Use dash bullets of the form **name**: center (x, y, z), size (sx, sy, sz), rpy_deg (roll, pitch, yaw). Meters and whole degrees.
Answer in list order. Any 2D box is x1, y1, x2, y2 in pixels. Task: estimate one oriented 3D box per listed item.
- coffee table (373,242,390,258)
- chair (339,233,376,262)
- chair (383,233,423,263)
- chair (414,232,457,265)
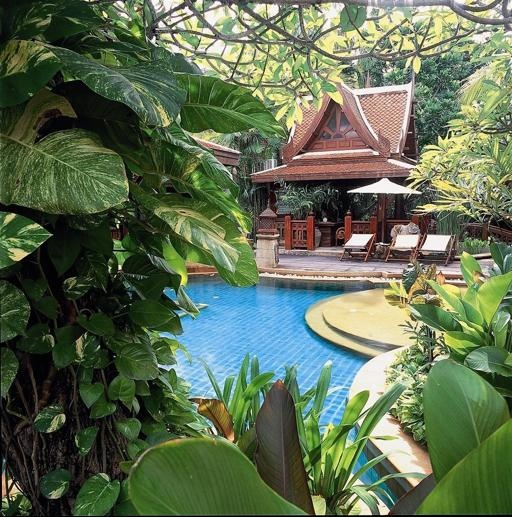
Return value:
- **coffee table**: center (3.889, -0.261, 12.637), size (0.460, 0.462, 0.471), rpy_deg (-1, 7, 7)
- **chair**: center (3.224, -0.363, 12.724), size (0.795, 0.708, 1.140), rpy_deg (3, 10, 22)
- **chair**: center (4.282, -0.285, 11.808), size (0.900, 0.828, 1.271), rpy_deg (2, 3, 28)
- **chair**: center (5.155, -0.322, 11.579), size (0.864, 0.716, 1.201), rpy_deg (4, 9, 27)
